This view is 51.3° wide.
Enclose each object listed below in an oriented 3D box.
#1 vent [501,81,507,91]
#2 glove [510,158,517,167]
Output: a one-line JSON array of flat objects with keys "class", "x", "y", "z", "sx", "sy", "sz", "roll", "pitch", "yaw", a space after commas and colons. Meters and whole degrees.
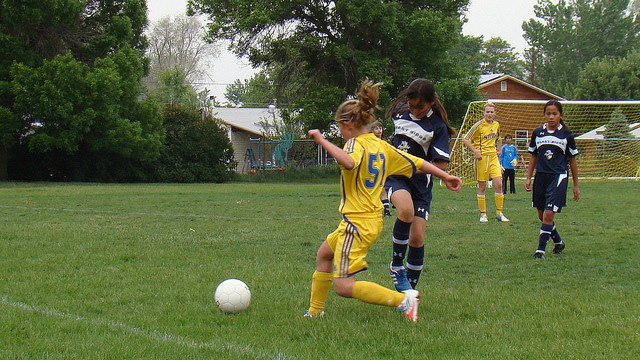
[{"class": "vent", "x": 13.573, "y": -6.968, "z": 49.442, "sx": 0.402, "sy": 0.706, "sz": 0.092, "roll": 0, "pitch": 2, "yaw": 12}, {"class": "glove", "x": 8.771, "y": -0.792, "z": 30.377, "sx": 0.265, "sy": 0.317, "sz": 0.135, "roll": 5, "pitch": 16, "yaw": 4}]
